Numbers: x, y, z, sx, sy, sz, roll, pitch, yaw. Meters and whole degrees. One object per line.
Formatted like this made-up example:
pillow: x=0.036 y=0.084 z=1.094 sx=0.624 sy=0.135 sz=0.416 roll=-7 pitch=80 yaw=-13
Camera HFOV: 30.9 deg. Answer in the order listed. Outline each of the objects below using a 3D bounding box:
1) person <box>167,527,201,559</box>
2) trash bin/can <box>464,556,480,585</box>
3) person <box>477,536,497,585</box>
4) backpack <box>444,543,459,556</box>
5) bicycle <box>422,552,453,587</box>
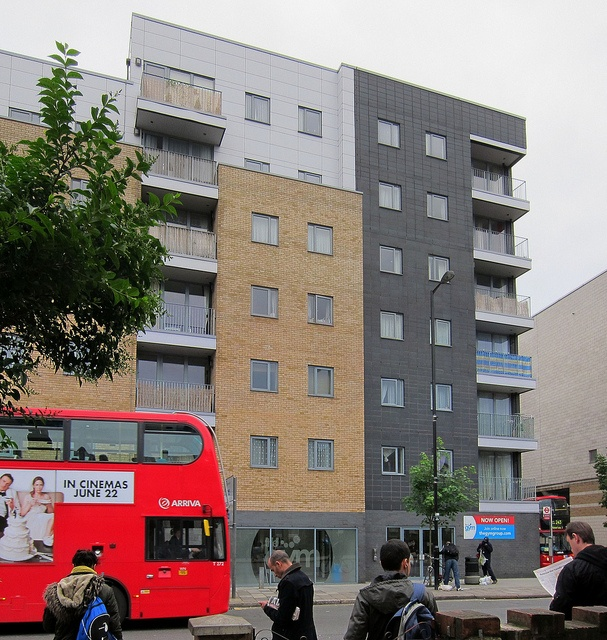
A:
person: x=-2.407 y=4.484 z=21.886 sx=0.708 sy=0.711 sz=0.393 roll=1 pitch=-5 yaw=-15
trash bin/can: x=5.013 y=7.533 z=32.927 sx=0.431 sy=0.812 sz=0.447 roll=-3 pitch=-16 yaw=6
person: x=5.582 y=7.411 z=33.765 sx=0.489 sy=1.465 sz=1.149 roll=-3 pitch=-17 yaw=7
backpack: x=4.074 y=6.459 z=30.695 sx=0.384 sy=0.445 sz=0.703 roll=-3 pitch=-17 yaw=6
bicycle: x=3.896 y=7.657 z=33.696 sx=0.680 sy=0.875 sz=1.402 roll=3 pitch=-8 yaw=-9
